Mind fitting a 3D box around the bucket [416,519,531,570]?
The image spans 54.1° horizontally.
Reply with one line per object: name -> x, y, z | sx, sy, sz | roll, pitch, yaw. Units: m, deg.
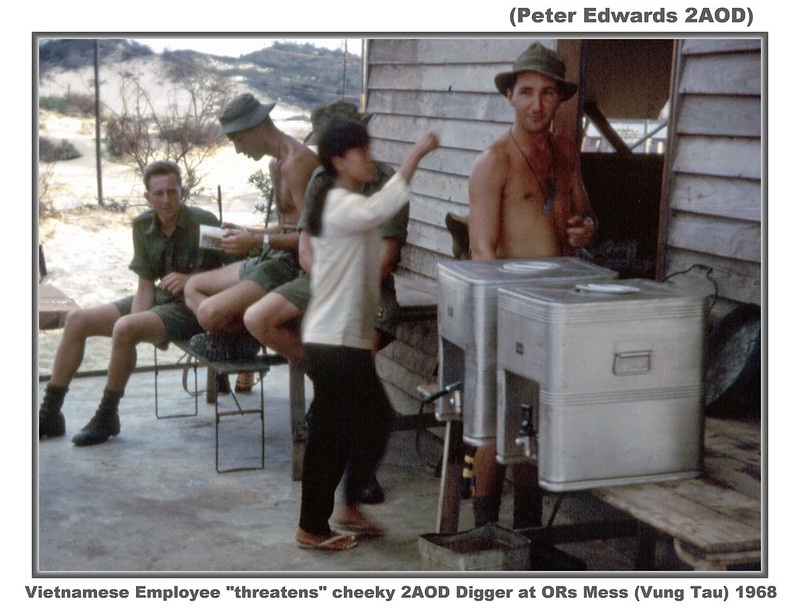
bucket -> 0.347, 1.168, 3.704 | 0.286, 0.101, 0.294 | 1, -2, 0

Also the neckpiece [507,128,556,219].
neckpiece -> 0.763, -0.734, 4.494 | 0.255, 0.492, 0.117 | -28, 10, -41

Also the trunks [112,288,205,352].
trunks -> -1.911, 0.035, 6.228 | 0.537, 0.218, 0.554 | 38, 51, 26

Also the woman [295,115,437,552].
woman -> -0.264, 0.222, 4.431 | 0.696, 2.460, 0.771 | 0, 12, 1

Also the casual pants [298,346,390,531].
casual pants -> -0.333, 0.769, 4.414 | 0.410, 0.998, 0.444 | 22, -14, -23

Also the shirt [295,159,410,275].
shirt -> -0.263, -0.488, 4.311 | 0.796, 0.805, 0.442 | 1, -2, -2

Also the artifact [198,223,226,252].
artifact -> -1.350, -0.480, 5.664 | 0.249, 0.179, 0.058 | 3, -3, 30

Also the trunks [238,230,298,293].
trunks -> -0.935, -0.282, 5.590 | 0.386, 0.310, 0.158 | -24, -23, 13

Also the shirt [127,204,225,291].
shirt -> -1.842, -0.507, 6.427 | 0.742, 0.609, 0.326 | -4, 14, -6

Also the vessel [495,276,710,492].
vessel -> 0.829, 0.303, 3.472 | 0.824, 0.870, 0.853 | -4, 7, -15

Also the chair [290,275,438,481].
chair -> -0.201, 0.281, 5.858 | 1.240, 1.627, 1.712 | -2, 5, -3

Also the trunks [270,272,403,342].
trunks -> -0.396, -0.021, 5.256 | 0.680, 0.511, 0.409 | 9, 9, -6

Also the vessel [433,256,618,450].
vessel -> 0.496, 0.213, 3.726 | 0.569, 0.691, 0.715 | 1, 13, -16

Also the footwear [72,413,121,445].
footwear -> -2.463, 1.003, 6.308 | 0.419, 0.285, 0.146 | -4, 3, -43

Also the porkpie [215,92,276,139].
porkpie -> -1.088, -1.332, 5.512 | 0.308, 0.119, 0.285 | -36, 21, -3

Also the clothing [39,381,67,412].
clothing -> -2.767, 0.731, 6.259 | 0.198, 0.232, 0.102 | -7, 13, -29
